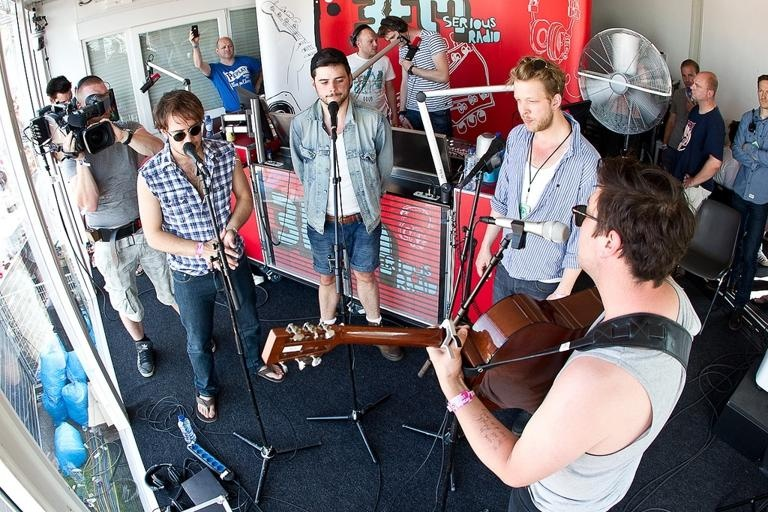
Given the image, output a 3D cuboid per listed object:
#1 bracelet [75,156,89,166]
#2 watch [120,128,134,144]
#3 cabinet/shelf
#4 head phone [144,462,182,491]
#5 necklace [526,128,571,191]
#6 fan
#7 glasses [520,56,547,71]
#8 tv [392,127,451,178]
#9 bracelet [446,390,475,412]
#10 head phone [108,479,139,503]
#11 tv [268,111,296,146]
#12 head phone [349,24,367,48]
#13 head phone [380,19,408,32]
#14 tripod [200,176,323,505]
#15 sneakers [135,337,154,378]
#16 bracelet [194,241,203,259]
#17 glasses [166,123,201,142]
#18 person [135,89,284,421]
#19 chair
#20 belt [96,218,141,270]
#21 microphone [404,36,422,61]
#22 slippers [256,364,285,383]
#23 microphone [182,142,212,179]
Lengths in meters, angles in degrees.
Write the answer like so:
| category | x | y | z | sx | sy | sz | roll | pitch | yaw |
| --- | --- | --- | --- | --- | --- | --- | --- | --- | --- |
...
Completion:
| category | x | y | z | sx | sy | sz | roll | pitch | yaw |
| --- | --- | --- | --- | --- | --- | --- | --- | --- | --- |
| bracelet | -1.975 | -0.612 | 3.453 | 0.068 | 0.058 | 0.161 | 8 | 3 | -27 |
| watch | -1.752 | -0.827 | 3.595 | 0.072 | 0.105 | 0.046 | 0 | 30 | -13 |
| cabinet/shelf | -0.056 | -0.271 | 4.361 | 1.726 | 1.460 | 0.635 | 16 | 15 | 29 |
| head phone | -1.405 | 1.417 | 3.377 | 0.213 | 0.083 | 0.154 | -9 | 27 | -10 |
| necklace | 0.933 | -0.585 | 3.155 | 0.132 | 0.461 | 0.012 | 17 | 5 | 24 |
| fan | 1.985 | -1.313 | 4.373 | 0.356 | 1.113 | 0.857 | -29 | 37 | -18 |
| glasses | 0.860 | -1.108 | 3.039 | 0.102 | 0.035 | 0.111 | 3 | 8 | 7 |
| tv | 0.268 | -0.844 | 3.929 | 0.493 | 0.392 | 0.357 | 14 | 20 | 14 |
| bracelet | 0.299 | 0.561 | 2.081 | 0.099 | 0.100 | 0.066 | -3 | 52 | -10 |
| head phone | -1.595 | 1.462 | 3.244 | 0.132 | 0.032 | 0.139 | 31 | 28 | -28 |
| tv | -0.802 | -1.059 | 4.330 | 0.274 | 0.293 | 0.106 | 13 | 50 | 15 |
| head phone | -0.238 | -2.234 | 5.327 | 0.176 | 0.184 | 0.163 | -6 | 25 | -4 |
| head phone | 0.097 | -2.257 | 5.119 | 0.276 | 0.136 | 0.190 | -3 | 26 | 3 |
| tripod | -0.836 | 0.610 | 3.610 | 0.697 | 2.041 | 0.816 | -19 | 53 | -24 |
| sneakers | -1.825 | 0.798 | 4.078 | 0.116 | 0.154 | 0.355 | -4 | 40 | -19 |
| bracelet | -1.118 | -0.055 | 3.218 | 0.022 | 0.070 | 0.067 | 5 | 7 | -33 |
| glasses | -1.166 | -0.735 | 3.122 | 0.185 | 0.089 | 0.098 | -16 | 28 | -23 |
| person | -1.108 | 0.061 | 3.441 | 0.696 | 2.167 | 0.572 | -16 | 27 | -24 |
| chair | 2.569 | 0.044 | 4.203 | 0.476 | 0.745 | 0.479 | -19 | 36 | -9 |
| belt | -1.891 | -0.103 | 3.747 | 0.229 | 0.336 | 0.090 | 1 | 8 | -26 |
| microphone | 0.300 | -2.093 | 5.289 | 0.122 | 0.211 | 0.054 | 21 | 10 | -26 |
| slippers | -0.826 | 0.873 | 3.937 | 0.232 | 0.058 | 0.132 | 17 | 46 | 18 |
| microphone | -0.969 | -0.502 | 2.742 | 0.085 | 0.091 | 0.256 | -28 | 71 | -10 |
